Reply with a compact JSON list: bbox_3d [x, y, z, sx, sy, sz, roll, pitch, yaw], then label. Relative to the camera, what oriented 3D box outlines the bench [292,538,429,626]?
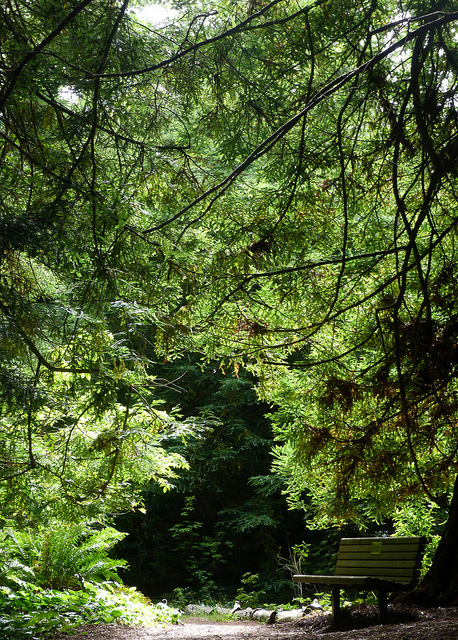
[{"bbox_3d":[1.027,2.072,6.907,0.588,0.646,1.100,2,-14,-23],"label":"bench"}]

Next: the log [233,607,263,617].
[{"bbox_3d":[0.193,3.340,9.935,0.180,0.043,0.183,-11,-10,39],"label":"log"}]

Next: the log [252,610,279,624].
[{"bbox_3d":[0.396,3.185,9.341,0.239,0.086,0.324,13,-16,-42],"label":"log"}]

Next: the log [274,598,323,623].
[{"bbox_3d":[0.717,2.919,8.654,0.458,0.210,0.773,7,-19,-10],"label":"log"}]
